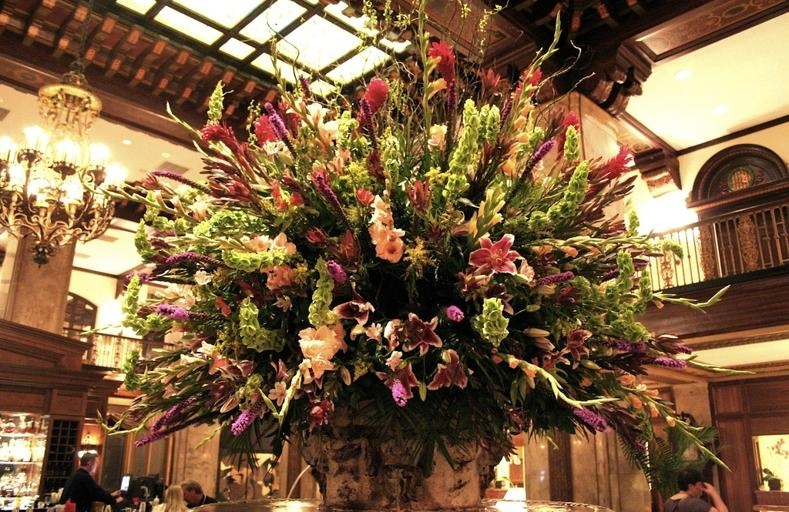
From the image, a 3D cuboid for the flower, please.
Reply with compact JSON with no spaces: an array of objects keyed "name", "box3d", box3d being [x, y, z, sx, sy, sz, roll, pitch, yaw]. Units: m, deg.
[{"name":"flower","box3d":[-0.027,0.012,1.533,1.378,0.840,1.266,5,-20,-9]}]
